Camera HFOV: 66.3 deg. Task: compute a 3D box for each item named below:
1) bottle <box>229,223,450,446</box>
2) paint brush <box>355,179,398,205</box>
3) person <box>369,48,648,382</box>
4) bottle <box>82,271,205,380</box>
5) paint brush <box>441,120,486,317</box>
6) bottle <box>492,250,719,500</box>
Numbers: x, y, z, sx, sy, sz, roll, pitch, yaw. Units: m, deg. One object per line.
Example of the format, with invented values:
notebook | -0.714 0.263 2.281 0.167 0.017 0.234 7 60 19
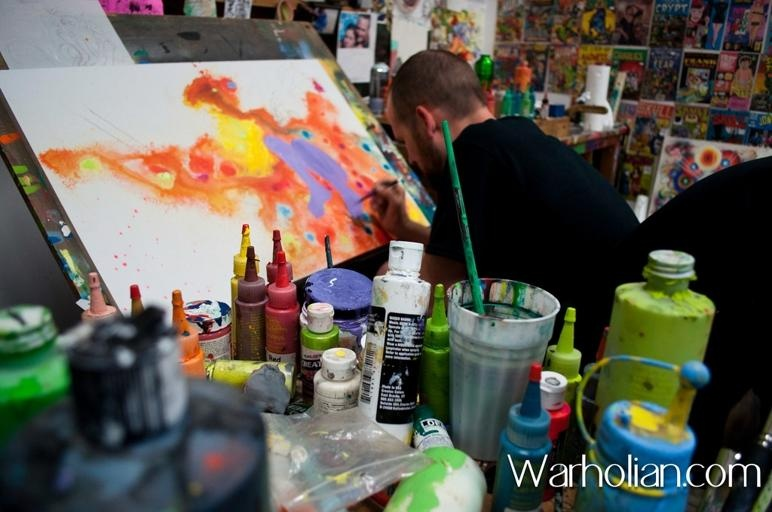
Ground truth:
bottle | -0.104 0.162 1.172 0.376 0.359 0.131 11 8 21
paint brush | -0.023 -0.208 1.874 0.142 0.025 0.058 -40 37 -12
person | 0.403 -0.298 2.343 1.027 1.455 0.705 -5 12 20
bottle | -0.396 0.109 0.952 0.175 0.161 0.064 4 17 11
paint brush | 0.195 -0.094 1.473 0.043 0.529 0.045 -5 -9 -23
bottle | 0.356 0.210 1.015 0.366 0.412 0.216 -12 23 -37
